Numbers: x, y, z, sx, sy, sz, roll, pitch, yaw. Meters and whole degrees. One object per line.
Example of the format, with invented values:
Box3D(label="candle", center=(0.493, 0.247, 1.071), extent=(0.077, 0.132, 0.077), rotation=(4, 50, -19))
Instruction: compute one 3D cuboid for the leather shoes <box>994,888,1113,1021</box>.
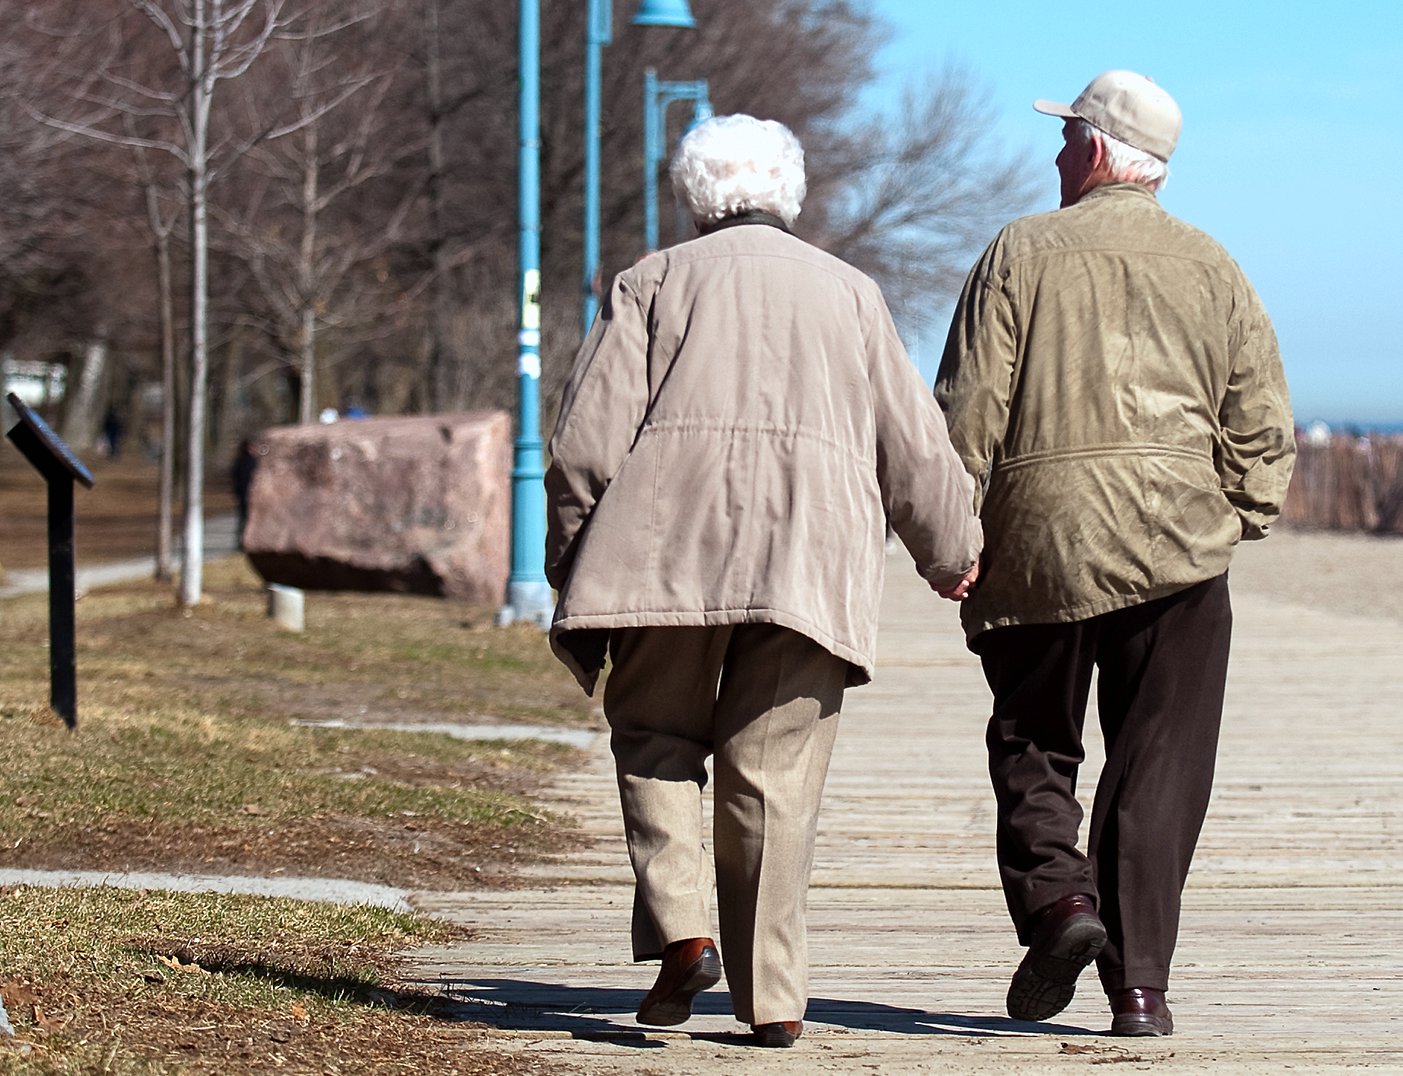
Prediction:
Box3D(label="leather shoes", center=(1.195, 1.466, 11.669), extent=(0.222, 0.519, 0.238), rotation=(15, 28, -17))

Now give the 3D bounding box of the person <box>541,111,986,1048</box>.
Box3D(label="person", center=(0.148, 0.140, 11.491), extent=(1.386, 2.926, 0.404), rotation=(2, 1, -5))

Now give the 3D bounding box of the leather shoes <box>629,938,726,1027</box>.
Box3D(label="leather shoes", center=(-0.088, 1.525, 11.526), extent=(0.258, 0.292, 0.338), rotation=(2, 1, -18))
